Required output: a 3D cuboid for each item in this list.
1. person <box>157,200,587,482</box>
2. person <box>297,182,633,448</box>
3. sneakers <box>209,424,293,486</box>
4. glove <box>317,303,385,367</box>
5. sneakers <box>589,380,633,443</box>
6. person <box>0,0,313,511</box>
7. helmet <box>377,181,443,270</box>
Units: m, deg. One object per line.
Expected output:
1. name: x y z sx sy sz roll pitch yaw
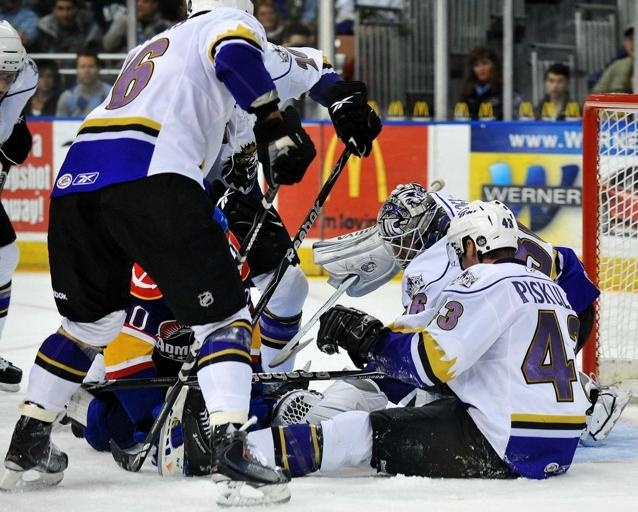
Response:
1. person: 0.338 0.349 4.139 0.990 1.064 1.219 5 5 40
2. person: 0.614 0.235 4.860 1.296 1.132 0.985 0 -6 1
3. sneakers: -0.234 0.714 3.867 0.306 0.224 0.114 14 -27 -22
4. glove: 0.119 0.298 4.413 0.183 0.278 0.119 -1 -18 -2
5. sneakers: 1.238 0.659 4.724 0.164 0.276 0.096 27 4 36
6. person: -0.628 -0.013 3.984 1.044 1.740 0.599 -1 8 2
7. helmet: 0.417 -0.188 4.942 0.273 0.269 0.343 16 -36 16
